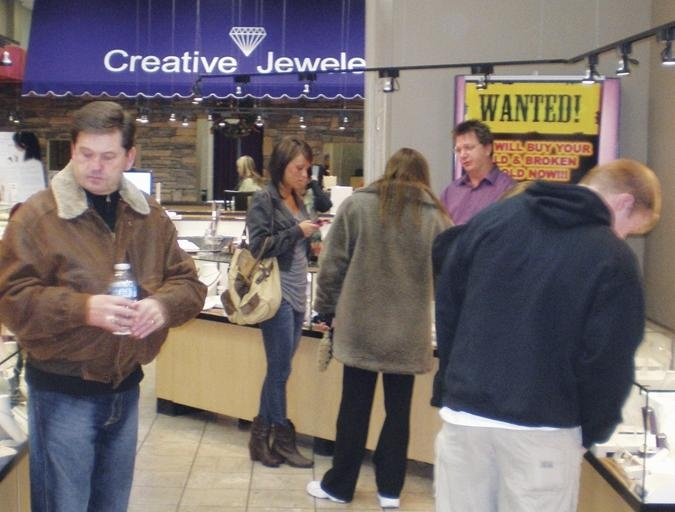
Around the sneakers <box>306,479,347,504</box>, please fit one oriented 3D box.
[{"bbox_3d":[-0.041,1.247,4.151,0.219,0.087,0.094,12,7,19],"label":"sneakers"}]

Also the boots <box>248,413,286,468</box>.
[{"bbox_3d":[-0.398,1.072,4.475,0.126,0.262,0.286,1,1,-40],"label":"boots"}]

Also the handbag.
[{"bbox_3d":[-0.455,0.046,4.198,0.274,0.774,0.363,-6,14,-26],"label":"handbag"}]

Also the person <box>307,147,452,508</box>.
[{"bbox_3d":[0.205,0.400,3.917,0.705,1.850,0.317,2,13,7],"label":"person"}]

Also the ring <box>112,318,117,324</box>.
[{"bbox_3d":[-0.802,0.236,2.788,0.022,0.019,0.005,3,-5,-28],"label":"ring"}]

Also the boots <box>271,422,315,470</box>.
[{"bbox_3d":[-0.236,1.086,4.451,0.315,0.235,0.134,-1,-4,36],"label":"boots"}]

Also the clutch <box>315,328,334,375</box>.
[{"bbox_3d":[-0.053,0.508,4.064,0.067,0.202,0.125,10,2,7],"label":"clutch"}]
